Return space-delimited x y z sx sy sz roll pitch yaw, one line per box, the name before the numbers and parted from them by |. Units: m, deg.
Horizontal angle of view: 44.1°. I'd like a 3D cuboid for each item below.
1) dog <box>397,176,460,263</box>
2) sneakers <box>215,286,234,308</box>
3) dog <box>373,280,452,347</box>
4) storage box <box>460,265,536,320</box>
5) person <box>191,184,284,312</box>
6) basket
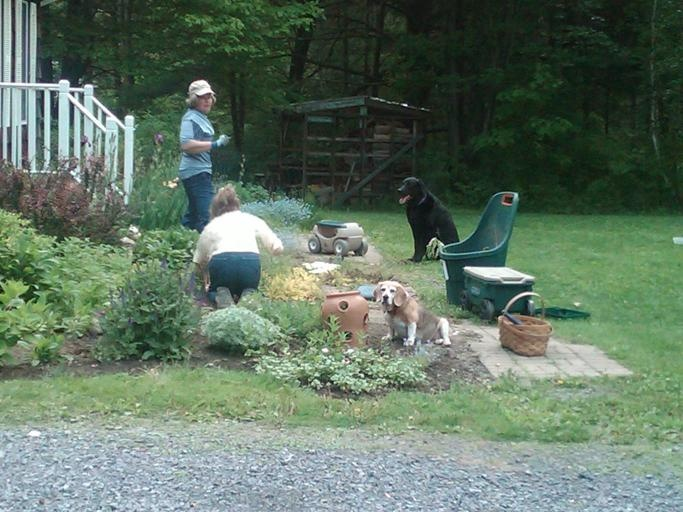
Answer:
dog | 1.393 -0.513 13.544 1.371 1.292 0.655 5 -4 -43
sneakers | -1.302 0.460 9.351 0.175 0.251 0.068 -13 -18 -3
dog | 0.804 0.659 9.385 1.108 0.664 0.584 5 -6 -41
storage box | 1.890 0.472 10.256 0.728 0.536 0.841 2 4 -11
person | -1.137 0.023 9.663 0.962 1.662 0.872 2 11 14
basket | 2.016 0.718 9.283 0.519 0.691 0.696 1 6 -22
